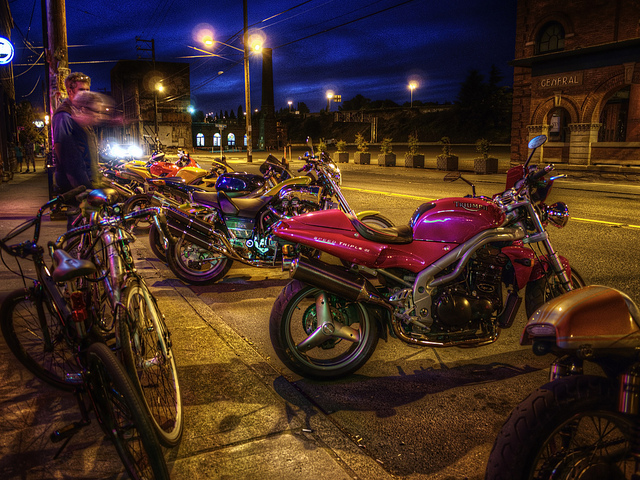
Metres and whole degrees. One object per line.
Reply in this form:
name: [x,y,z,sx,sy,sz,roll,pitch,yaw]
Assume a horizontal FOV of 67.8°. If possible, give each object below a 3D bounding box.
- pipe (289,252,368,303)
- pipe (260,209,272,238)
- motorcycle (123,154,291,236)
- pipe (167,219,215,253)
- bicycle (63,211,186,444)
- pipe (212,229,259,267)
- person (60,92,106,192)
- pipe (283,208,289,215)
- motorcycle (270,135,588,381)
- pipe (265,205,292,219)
pipe: [0.105,0.353,4.394,0.814,0.312,0.327,24,18,-11]
pipe: [-0.873,-0.278,7.363,0.111,0.352,0.233,7,-3,-23]
motorcycle: [-2.149,-0.632,8.523,2.809,1.681,1.396,4,5,-29]
pipe: [-1.792,-0.064,6.619,0.566,0.188,0.169,31,-23,-8]
bicycle: [-1.471,0.661,3.781,0.759,1.710,1.997,-5,13,-24]
pipe: [-1.250,0.115,7.099,0.190,0.440,1.057,7,-13,46]
person: [-3.154,-1.314,6.388,0.616,1.294,0.509,-6,13,-30]
pipe: [-0.527,-0.441,7.383,0.078,0.089,0.027,13,-30,6]
motorcycle: [1.268,0.208,4.621,3.323,2.143,1.231,-4,7,-9]
pipe: [-0.640,-0.424,7.283,0.425,0.145,0.107,29,15,8]
